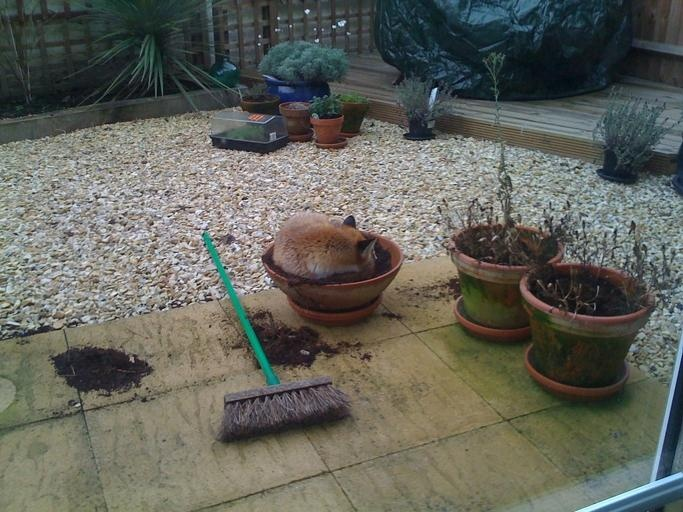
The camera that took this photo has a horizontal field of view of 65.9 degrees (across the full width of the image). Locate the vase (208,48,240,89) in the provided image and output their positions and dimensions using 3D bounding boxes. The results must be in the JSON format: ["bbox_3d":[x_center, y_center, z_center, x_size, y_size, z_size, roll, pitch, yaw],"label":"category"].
[{"bbox_3d":[-1.531,-2.431,6.925,0.332,0.385,0.540,0,28,-4],"label":"vase"}]

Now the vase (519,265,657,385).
[{"bbox_3d":[1.081,0.302,2.339,0.597,0.366,0.459,-12,31,-36],"label":"vase"}]

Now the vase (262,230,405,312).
[{"bbox_3d":[0.009,0.112,3.030,0.854,0.395,0.828,-2,23,-8],"label":"vase"}]

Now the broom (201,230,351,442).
[{"bbox_3d":[-0.545,0.283,2.647,0.680,0.149,1.376,-10,44,-26],"label":"broom"}]

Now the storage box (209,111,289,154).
[{"bbox_3d":[-0.955,-1.286,5.432,0.717,0.343,0.405,11,29,17],"label":"storage box"}]

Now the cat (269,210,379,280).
[{"bbox_3d":[-0.140,-0.076,2.893,0.605,0.311,0.630,-3,20,-9],"label":"cat"}]

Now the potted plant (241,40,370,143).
[{"bbox_3d":[-0.294,-1.884,6.069,1.436,1.077,0.978,8,28,11],"label":"potted plant"}]
